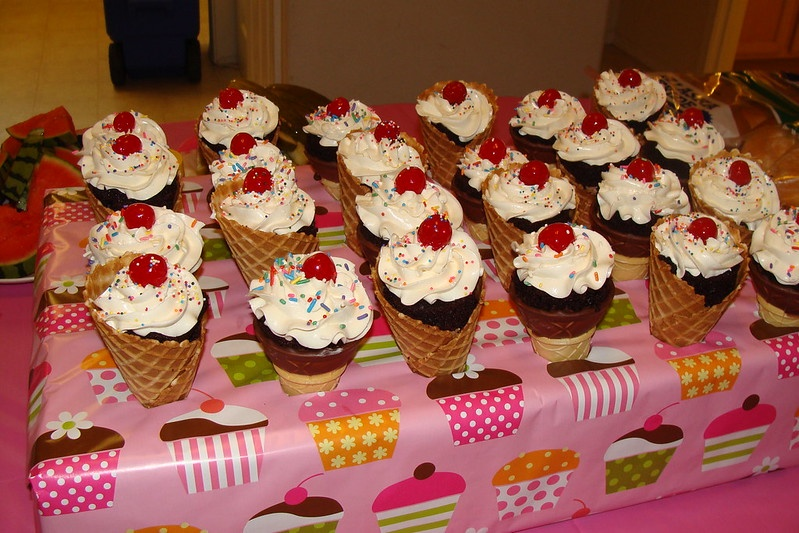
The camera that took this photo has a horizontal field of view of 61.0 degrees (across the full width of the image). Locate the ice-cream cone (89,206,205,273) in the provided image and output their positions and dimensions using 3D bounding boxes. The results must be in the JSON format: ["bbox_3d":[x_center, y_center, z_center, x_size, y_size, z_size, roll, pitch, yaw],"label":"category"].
[{"bbox_3d":[-1.152,-0.139,3.099,0.371,0.189,0.394,15,25,13],"label":"ice-cream cone"}]

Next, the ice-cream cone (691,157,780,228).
[{"bbox_3d":[1.715,-0.371,3.485,0.365,0.203,0.412,2,52,-1],"label":"ice-cream cone"}]

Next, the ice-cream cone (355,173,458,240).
[{"bbox_3d":[0.121,-0.337,3.377,0.493,0.260,0.476,-14,13,-4],"label":"ice-cream cone"}]
